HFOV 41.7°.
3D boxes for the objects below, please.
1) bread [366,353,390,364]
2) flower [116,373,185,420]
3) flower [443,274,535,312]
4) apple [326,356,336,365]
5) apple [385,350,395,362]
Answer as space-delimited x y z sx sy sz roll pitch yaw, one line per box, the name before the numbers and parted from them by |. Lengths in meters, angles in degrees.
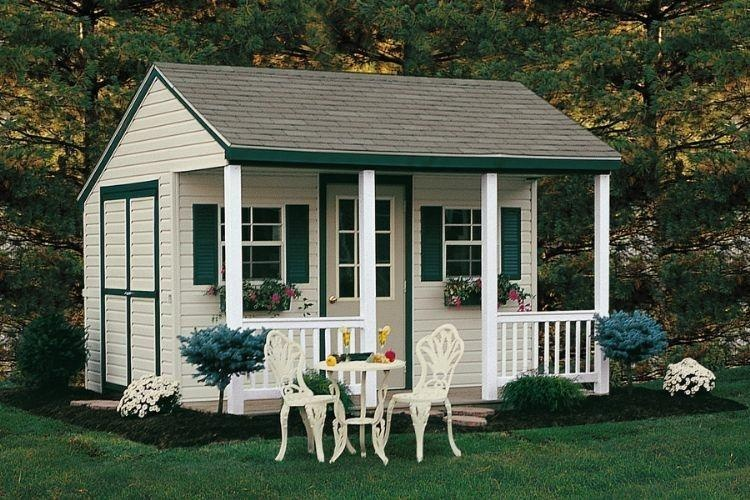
bread | 0.045 1.517 13.755 0.332 0.137 0.115 -2 -4 35
flower | -3.557 2.316 15.390 0.947 0.612 0.520 -2 9 -9
flower | 1.956 0.755 17.316 1.043 0.431 0.789 2 -2 -39
apple | -0.605 1.524 13.587 0.127 0.127 0.115 0 -1 2
apple | 0.215 1.487 13.778 0.148 0.200 0.150 0 -9 11
